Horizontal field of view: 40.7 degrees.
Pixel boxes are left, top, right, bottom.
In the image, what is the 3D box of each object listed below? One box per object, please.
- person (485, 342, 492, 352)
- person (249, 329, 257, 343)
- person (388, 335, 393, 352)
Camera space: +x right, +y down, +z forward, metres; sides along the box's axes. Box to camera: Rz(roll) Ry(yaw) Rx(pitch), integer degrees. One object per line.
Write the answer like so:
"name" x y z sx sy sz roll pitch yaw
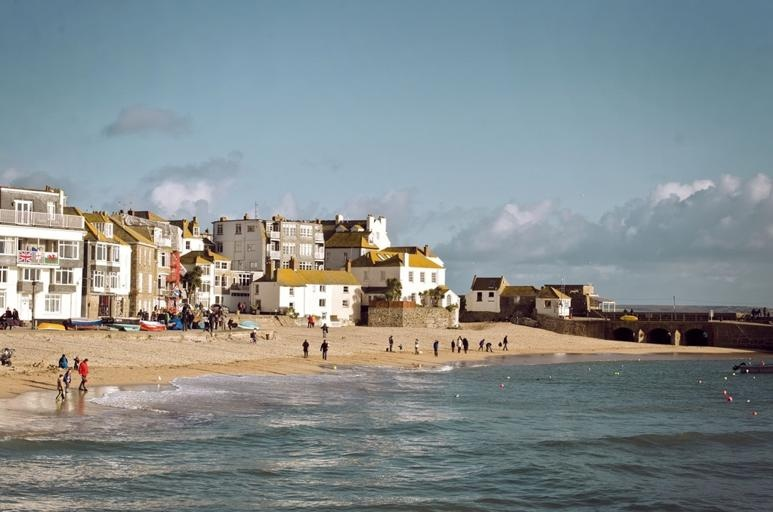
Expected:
"person" 11.297 10.223 115.675 0.791 1.003 0.775 5 28 11
"person" -12.790 7.772 100.065 1.051 1.544 0.669 3 -14 -40
"person" 0.426 9.095 107.131 0.431 1.510 1.492 -2 2 -30
